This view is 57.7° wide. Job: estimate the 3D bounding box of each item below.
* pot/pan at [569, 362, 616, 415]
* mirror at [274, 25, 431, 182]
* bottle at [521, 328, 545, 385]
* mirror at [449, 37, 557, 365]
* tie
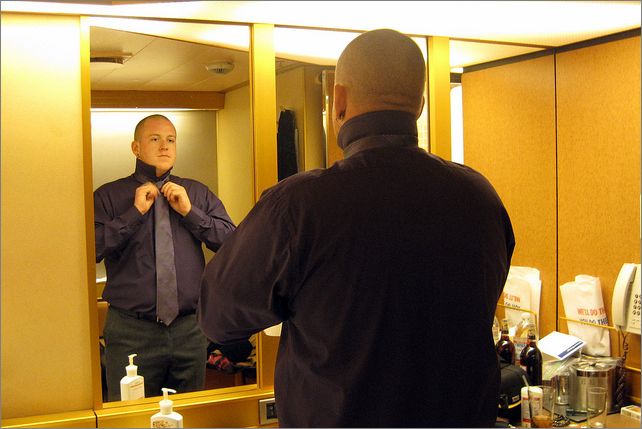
[{"bbox_3d":[1.094,0.686,2.335,0.160,0.181,0.164,-2,2,39],"label":"pot/pan"},{"bbox_3d":[0.152,-0.309,1.665,0.271,0.436,0.286,-2,10,-18],"label":"mirror"},{"bbox_3d":[0.843,0.565,2.328,0.086,0.239,0.061,1,-4,-24],"label":"bottle"},{"bbox_3d":[0.852,-0.261,2.620,0.419,0.920,0.016,-4,-14,29],"label":"mirror"},{"bbox_3d":[-0.603,0.159,2.134,0.153,0.549,0.043,-2,-42,-16],"label":"tie"}]
